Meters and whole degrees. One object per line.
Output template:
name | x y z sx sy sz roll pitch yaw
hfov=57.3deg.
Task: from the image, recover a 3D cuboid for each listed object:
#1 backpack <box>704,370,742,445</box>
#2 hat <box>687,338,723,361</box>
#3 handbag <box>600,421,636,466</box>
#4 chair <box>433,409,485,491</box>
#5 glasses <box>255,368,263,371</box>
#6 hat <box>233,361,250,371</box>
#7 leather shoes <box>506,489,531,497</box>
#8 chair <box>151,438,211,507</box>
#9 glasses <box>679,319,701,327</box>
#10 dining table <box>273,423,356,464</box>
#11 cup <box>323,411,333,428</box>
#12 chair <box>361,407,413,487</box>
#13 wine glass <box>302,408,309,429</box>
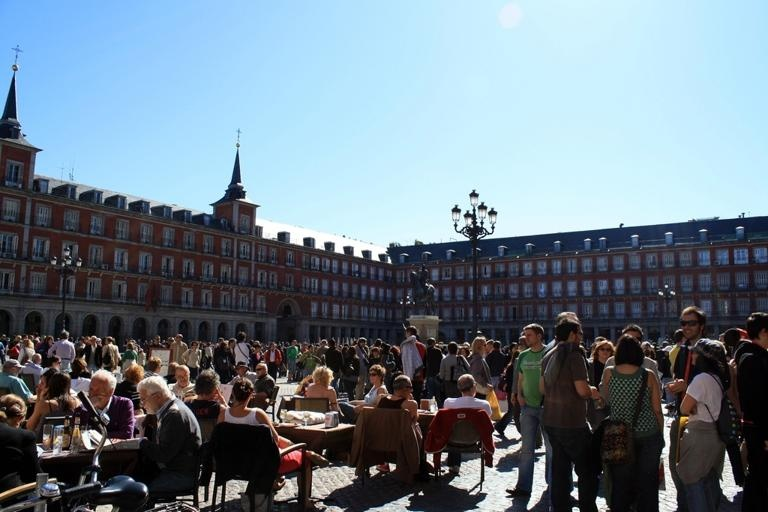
backpack | 4.382 1.977 9.028 0.469 0.860 0.160 5 -12 -34
hat | 4.217 1.217 9.108 0.349 0.286 0.286 -7 -11 25
handbag | 2.935 2.358 8.782 0.499 0.712 0.245 -1 -15 26
chair | 1.313 3.086 11.453 0.990 1.703 1.129 1 -4 10
glasses | -2.701 2.474 15.254 0.114 0.037 0.110 5 -14 -36
hat | -3.863 2.977 18.940 0.489 0.191 0.587 -1 -17 12
leather shoes | 2.015 3.578 10.631 0.369 0.156 0.209 -7 -11 24
chair | -2.687 2.983 9.758 0.772 1.340 0.778 6 -13 -10
glasses | 4.262 0.939 9.821 0.273 0.089 0.140 -11 -13 41
dining table | -0.940 2.876 11.009 0.958 0.248 0.858 -2 -3 40
cup | -0.868 2.612 11.126 0.140 0.255 0.189 2 7 10
chair | 0.037 2.997 11.293 1.014 1.045 1.049 0 1 17
wine glass | -1.221 2.564 10.997 0.147 0.248 0.146 -1 -2 -8
